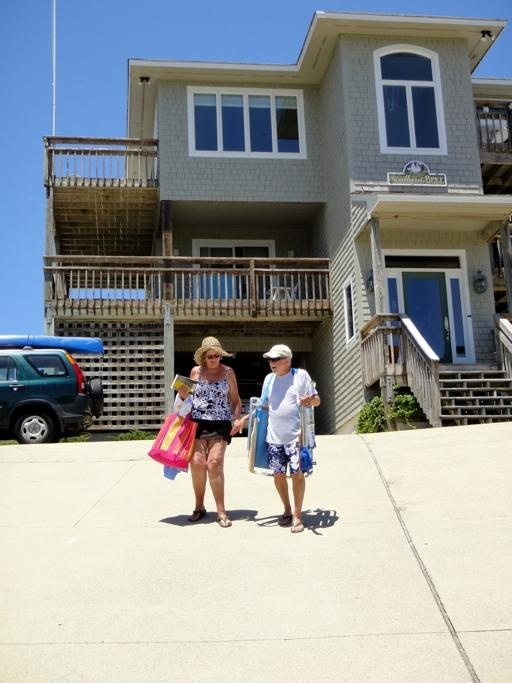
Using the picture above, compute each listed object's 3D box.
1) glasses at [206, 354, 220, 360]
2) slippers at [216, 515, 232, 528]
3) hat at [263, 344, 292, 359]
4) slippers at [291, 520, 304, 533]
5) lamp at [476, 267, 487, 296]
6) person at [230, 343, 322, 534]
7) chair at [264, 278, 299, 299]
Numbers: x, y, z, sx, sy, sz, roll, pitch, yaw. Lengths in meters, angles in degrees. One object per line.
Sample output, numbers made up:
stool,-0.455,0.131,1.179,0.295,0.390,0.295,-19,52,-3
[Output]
glasses,-0.338,0.127,6.575,0.043,0.045,0.115,0,3,41
slippers,-0.252,1.429,6.507,0.112,0.090,0.187,-2,2,-3
hat,0.197,0.092,6.440,0.206,0.120,0.136,6,-8,-41
slippers,0.322,1.432,6.308,0.105,0.076,0.172,-2,2,2
lamp,4.684,-1.224,16.949,0.312,0.502,0.175,-3,2,-31
person,0.286,0.753,6.414,0.364,1.431,0.548,-2,2,-29
chair,0.645,-1.177,18.924,0.611,0.633,0.827,-5,2,-5
